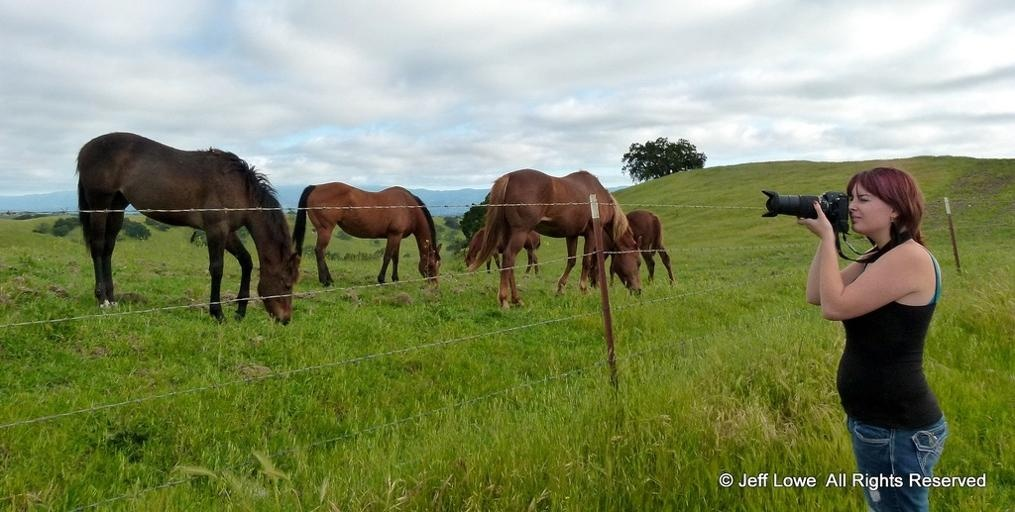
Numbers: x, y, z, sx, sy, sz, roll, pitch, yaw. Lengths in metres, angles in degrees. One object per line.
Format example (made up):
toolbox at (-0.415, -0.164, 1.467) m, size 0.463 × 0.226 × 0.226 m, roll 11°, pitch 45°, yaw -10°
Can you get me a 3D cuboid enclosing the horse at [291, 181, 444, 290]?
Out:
horse at (-4.186, -0.682, 18.385) m, size 2.936 × 3.111 × 4.446 m, roll 0°, pitch 5°, yaw 24°
